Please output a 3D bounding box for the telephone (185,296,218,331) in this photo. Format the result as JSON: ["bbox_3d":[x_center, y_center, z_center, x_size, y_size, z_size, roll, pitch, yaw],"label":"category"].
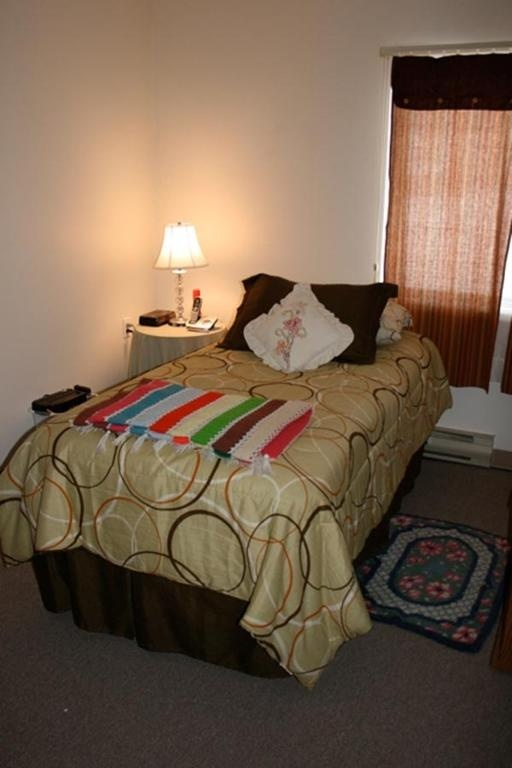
[{"bbox_3d":[-0.294,-0.380,3.247,0.200,0.213,0.188,1,4,-3],"label":"telephone"}]

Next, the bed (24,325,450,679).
[{"bbox_3d":[-0.028,0.303,2.057,1.091,0.550,1.304,6,15,22],"label":"bed"}]

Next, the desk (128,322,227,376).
[{"bbox_3d":[-0.465,-0.216,3.114,0.327,0.260,0.340,9,16,23],"label":"desk"}]

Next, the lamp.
[{"bbox_3d":[-0.440,-0.652,3.390,0.279,0.556,0.492,-2,13,-6],"label":"lamp"}]

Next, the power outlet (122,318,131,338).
[{"bbox_3d":[-0.762,-0.329,3.391,0.077,0.123,0.028,1,-4,-8],"label":"power outlet"}]
